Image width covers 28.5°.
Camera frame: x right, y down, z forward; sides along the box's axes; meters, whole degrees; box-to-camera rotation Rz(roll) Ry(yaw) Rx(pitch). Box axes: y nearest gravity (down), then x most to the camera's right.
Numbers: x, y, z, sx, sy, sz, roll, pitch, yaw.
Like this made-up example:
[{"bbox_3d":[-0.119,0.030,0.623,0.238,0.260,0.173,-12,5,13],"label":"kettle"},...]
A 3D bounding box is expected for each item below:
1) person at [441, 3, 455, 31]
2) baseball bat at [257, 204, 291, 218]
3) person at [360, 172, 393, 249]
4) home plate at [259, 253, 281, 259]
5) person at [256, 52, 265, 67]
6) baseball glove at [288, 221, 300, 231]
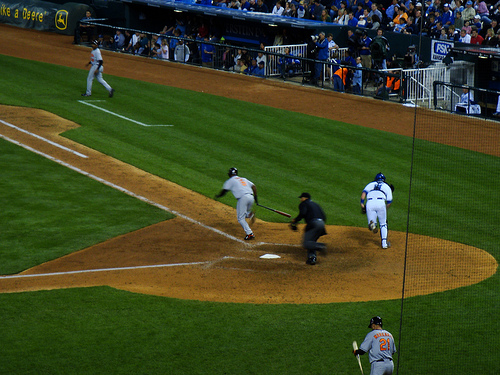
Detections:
[{"bbox_3d":[8.739,-7.483,42.654,0.614,1.077,1.427,8,8,9],"label":"person"},{"bbox_3d":[0.854,0.755,32.023,0.980,0.091,0.099,21,-37,-4],"label":"baseball bat"},{"bbox_3d":[3.940,0.624,30.279,1.050,0.914,2.561,6,51,-5],"label":"person"},{"bbox_3d":[0.649,2.064,29.491,0.617,0.104,0.256,6,7,0],"label":"home plate"},{"bbox_3d":[0.484,-5.643,43.039,0.272,0.585,0.766,4,8,-19],"label":"person"},{"bbox_3d":[1.364,1.138,29.717,0.213,0.353,0.587,7,8,5],"label":"baseball glove"}]
